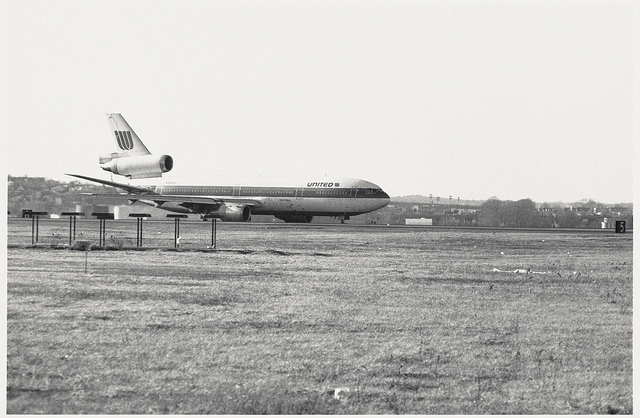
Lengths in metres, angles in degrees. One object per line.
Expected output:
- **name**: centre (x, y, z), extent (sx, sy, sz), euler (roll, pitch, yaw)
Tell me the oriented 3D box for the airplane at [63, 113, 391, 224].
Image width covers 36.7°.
- **airplane**: centre (-5.683, -3.323, 62.166), extent (20.573, 7.949, 7.687), euler (0, -5, 11)
